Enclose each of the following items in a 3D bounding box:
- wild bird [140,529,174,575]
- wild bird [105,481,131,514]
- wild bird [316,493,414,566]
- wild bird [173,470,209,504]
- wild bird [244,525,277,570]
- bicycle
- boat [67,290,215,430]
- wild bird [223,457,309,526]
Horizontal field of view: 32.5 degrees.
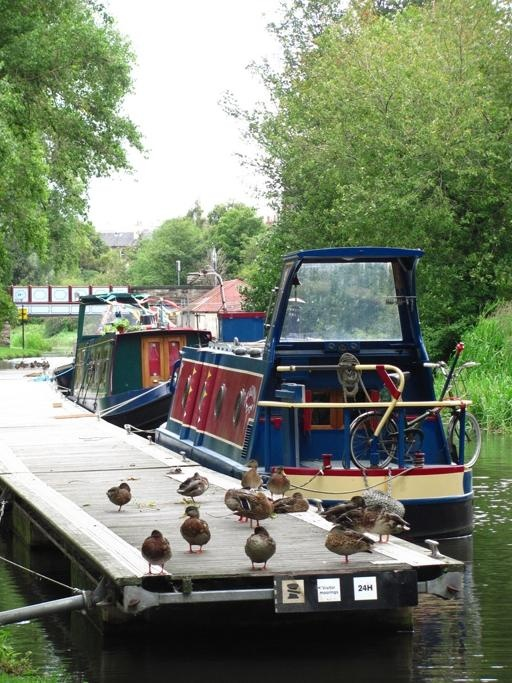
[{"bbox_3d":[-0.684,1.406,5.890,0.208,0.219,0.354,-4,5,-7],"label":"wild bird"},{"bbox_3d":[-1.313,1.482,8.307,0.197,0.258,0.400,-3,0,-11],"label":"wild bird"},{"bbox_3d":[0.928,1.301,6.500,0.711,0.336,0.354,10,-14,-40],"label":"wild bird"},{"bbox_3d":[-0.605,1.437,8.434,0.381,0.247,0.246,-5,18,-6],"label":"wild bird"},{"bbox_3d":[0.023,1.400,5.986,0.237,0.307,0.377,2,-21,7],"label":"wild bird"},{"bbox_3d":[1.816,0.830,9.520,2.156,1.145,0.873,3,-3,-39],"label":"bicycle"},{"bbox_3d":[-2.867,0.568,21.775,2.264,2.428,6.267,2,0,-17],"label":"boat"},{"bbox_3d":[0.047,1.339,7.484,0.457,0.390,0.673,4,-7,-4],"label":"wild bird"}]
